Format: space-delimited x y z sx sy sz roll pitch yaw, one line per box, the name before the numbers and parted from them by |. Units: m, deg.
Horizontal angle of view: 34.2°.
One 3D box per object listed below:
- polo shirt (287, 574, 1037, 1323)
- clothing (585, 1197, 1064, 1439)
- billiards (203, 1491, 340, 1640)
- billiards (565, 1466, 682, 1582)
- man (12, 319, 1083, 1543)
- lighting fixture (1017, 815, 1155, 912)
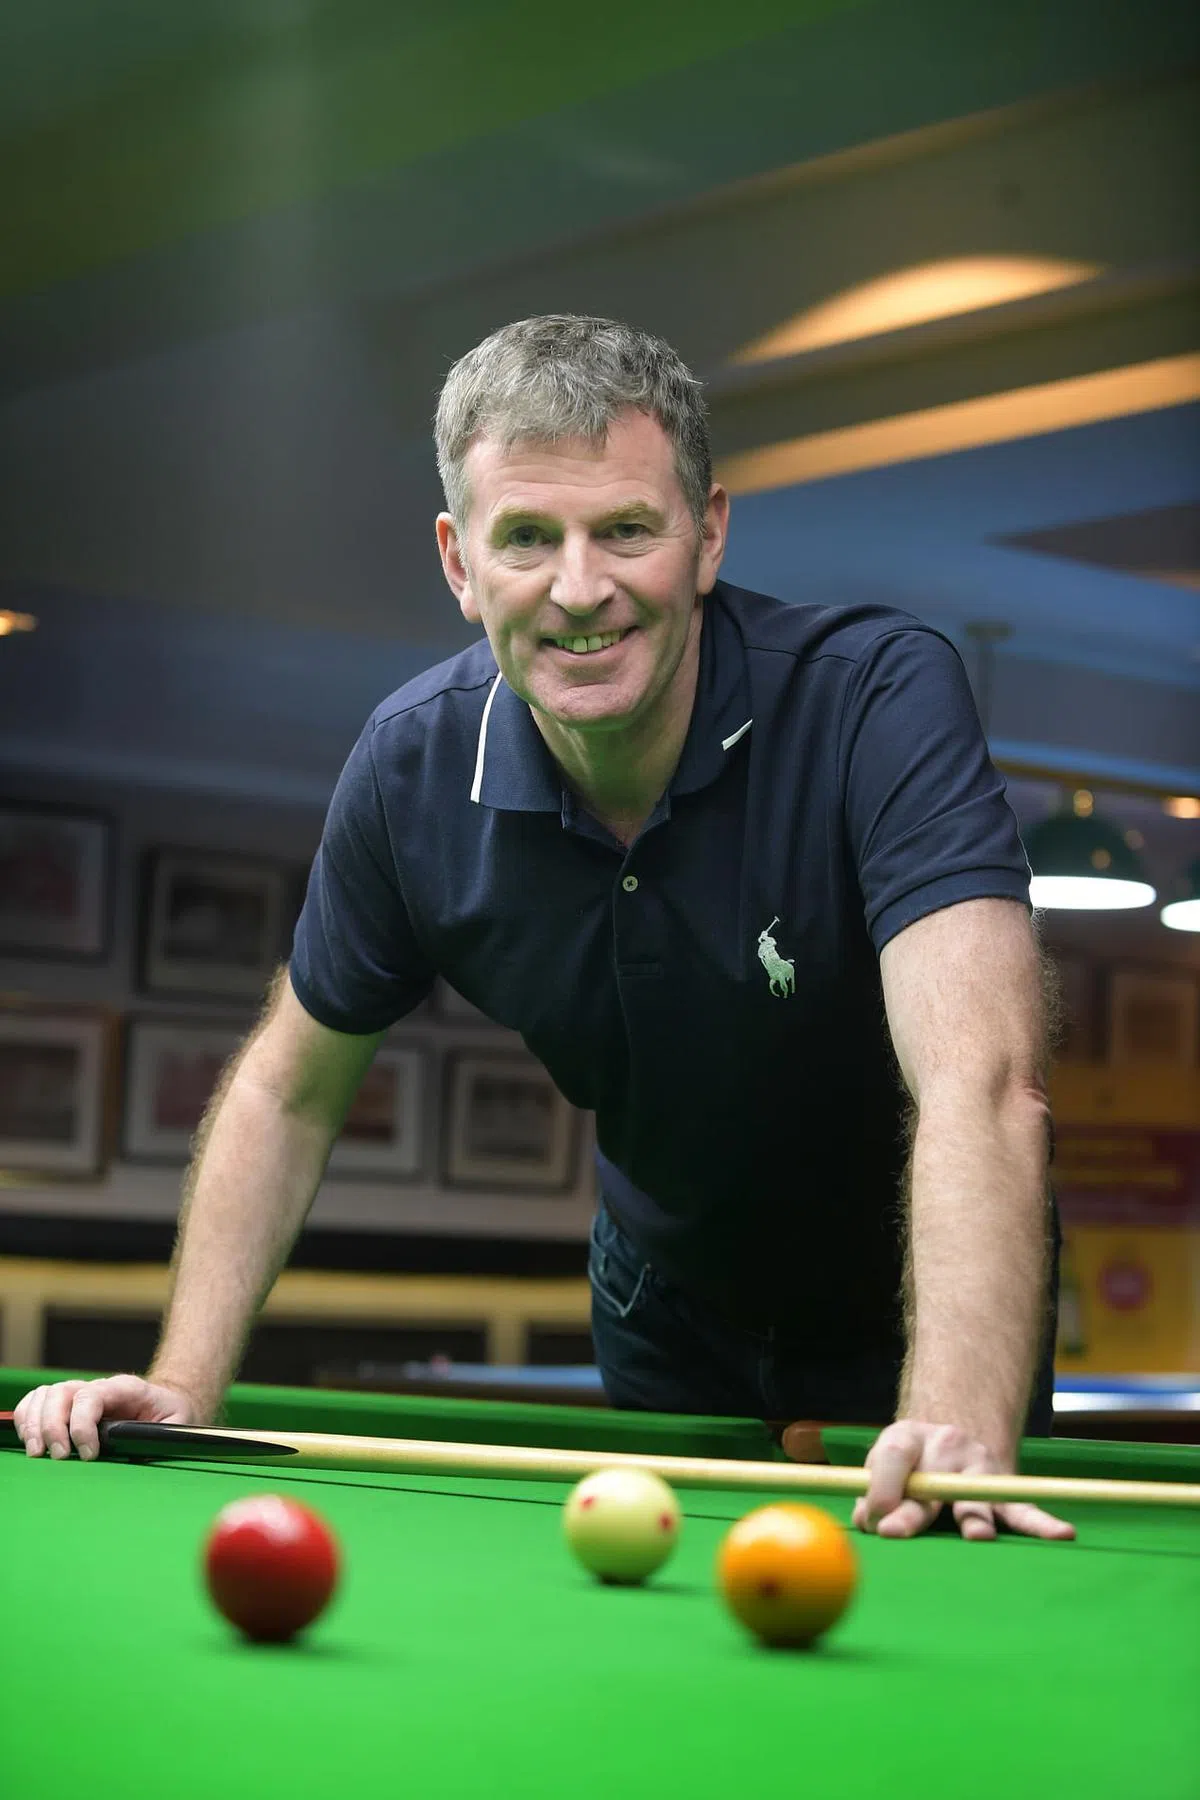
polo shirt | 0.096 0.066 2.108 0.947 0.724 0.353 -6 13 35
clothing | 0.223 0.474 2.392 0.472 0.197 0.351 -1 -9 29
billiards | -0.182 0.377 1.097 0.080 0.078 0.073 5 -12 -10
billiards | 0.018 0.385 1.220 0.068 0.056 0.060 1 -1 8
man | 0.018 0.052 1.968 0.876 0.965 1.183 5 1 11
lighting fixture | 1.071 -0.061 4.260 0.413 0.155 0.378 2 -13 3
